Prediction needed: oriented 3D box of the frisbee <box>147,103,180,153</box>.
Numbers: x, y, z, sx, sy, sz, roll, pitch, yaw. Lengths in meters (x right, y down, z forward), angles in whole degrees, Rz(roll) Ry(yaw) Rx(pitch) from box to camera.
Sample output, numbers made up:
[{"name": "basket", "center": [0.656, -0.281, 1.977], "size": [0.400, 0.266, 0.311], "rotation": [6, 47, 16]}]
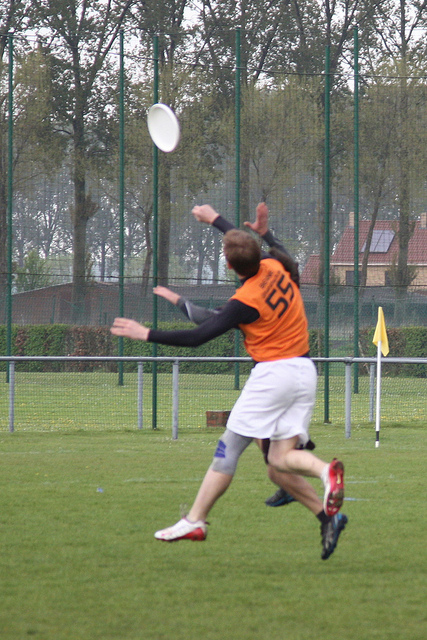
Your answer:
[{"name": "frisbee", "center": [-0.494, -1.923, 11.953], "size": [0.097, 0.491, 0.482], "rotation": [-14, 48, -28]}]

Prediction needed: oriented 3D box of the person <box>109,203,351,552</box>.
[{"name": "person", "center": [0.248, 0.473, 8.368], "size": [1.310, 2.134, 0.774], "rotation": [-1, 14, 0]}]
